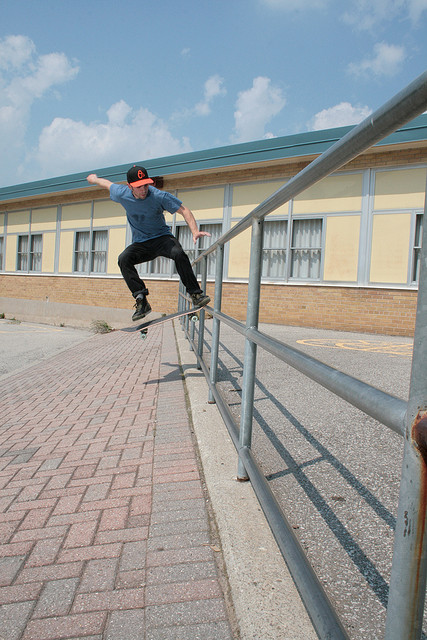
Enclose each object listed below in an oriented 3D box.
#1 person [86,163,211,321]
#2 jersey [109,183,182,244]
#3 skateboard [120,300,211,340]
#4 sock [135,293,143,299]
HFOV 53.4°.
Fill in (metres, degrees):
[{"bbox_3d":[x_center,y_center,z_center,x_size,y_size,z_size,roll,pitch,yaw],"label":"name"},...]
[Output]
[{"bbox_3d":[-0.682,-0.834,4.872,0.788,1.695,1.244,-3,5,-29],"label":"person"},{"bbox_3d":[-0.807,-1.241,4.961,0.634,0.691,0.828,-4,6,-37],"label":"jersey"},{"bbox_3d":[-0.888,0.005,7.936,1.659,0.250,0.449,-22,5,1],"label":"skateboard"},{"bbox_3d":[-0.881,-0.276,5.029,0.058,0.044,0.060,2,-2,-4],"label":"sock"}]
